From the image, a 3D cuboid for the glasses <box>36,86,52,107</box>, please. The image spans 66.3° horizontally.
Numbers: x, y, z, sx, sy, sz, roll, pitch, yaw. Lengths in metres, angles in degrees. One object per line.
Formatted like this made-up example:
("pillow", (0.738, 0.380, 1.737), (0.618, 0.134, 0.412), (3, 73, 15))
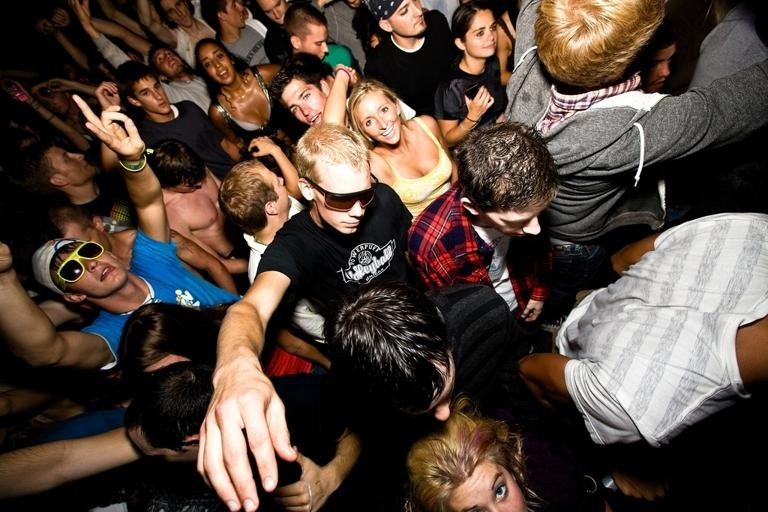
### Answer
("glasses", (-3.911, -1.828, 6.742), (0.236, 0.168, 0.140), (34, 20, 21))
